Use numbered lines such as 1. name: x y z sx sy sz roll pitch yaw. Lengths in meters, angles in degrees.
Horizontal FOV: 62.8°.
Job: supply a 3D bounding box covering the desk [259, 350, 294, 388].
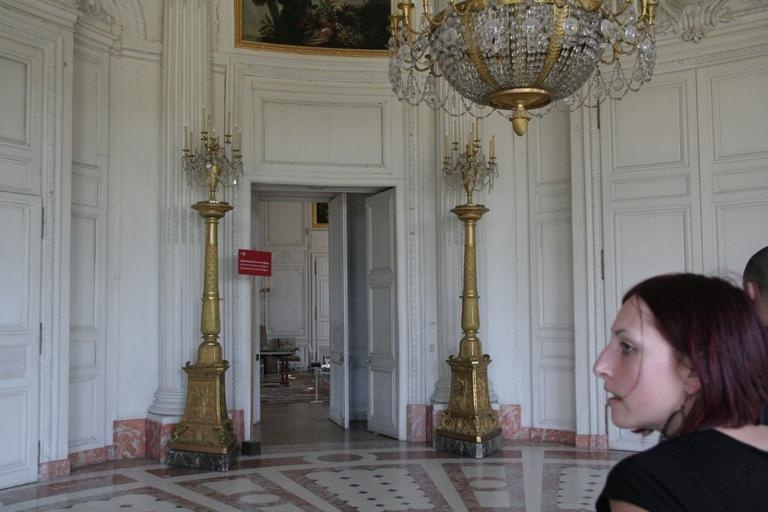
1. desk: -2.679 2.763 15.339 0.768 0.631 0.815 4 -15 -12
